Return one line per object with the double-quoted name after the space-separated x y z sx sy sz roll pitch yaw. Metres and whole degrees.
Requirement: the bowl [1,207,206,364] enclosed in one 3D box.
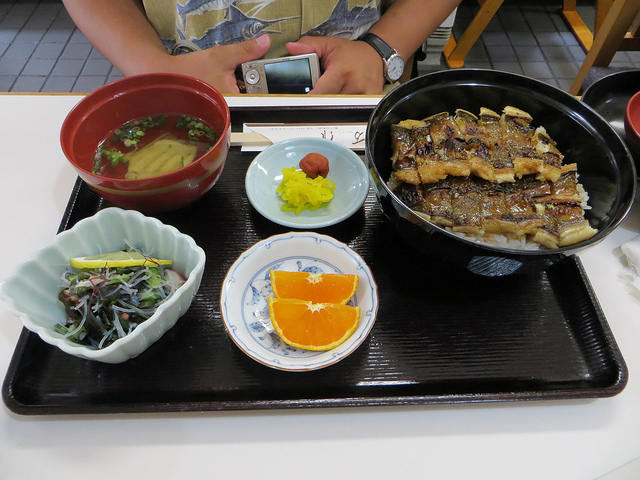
-0.708 0.156 1.853 0.551 0.259 0.623 29 58 11 "bowl"
